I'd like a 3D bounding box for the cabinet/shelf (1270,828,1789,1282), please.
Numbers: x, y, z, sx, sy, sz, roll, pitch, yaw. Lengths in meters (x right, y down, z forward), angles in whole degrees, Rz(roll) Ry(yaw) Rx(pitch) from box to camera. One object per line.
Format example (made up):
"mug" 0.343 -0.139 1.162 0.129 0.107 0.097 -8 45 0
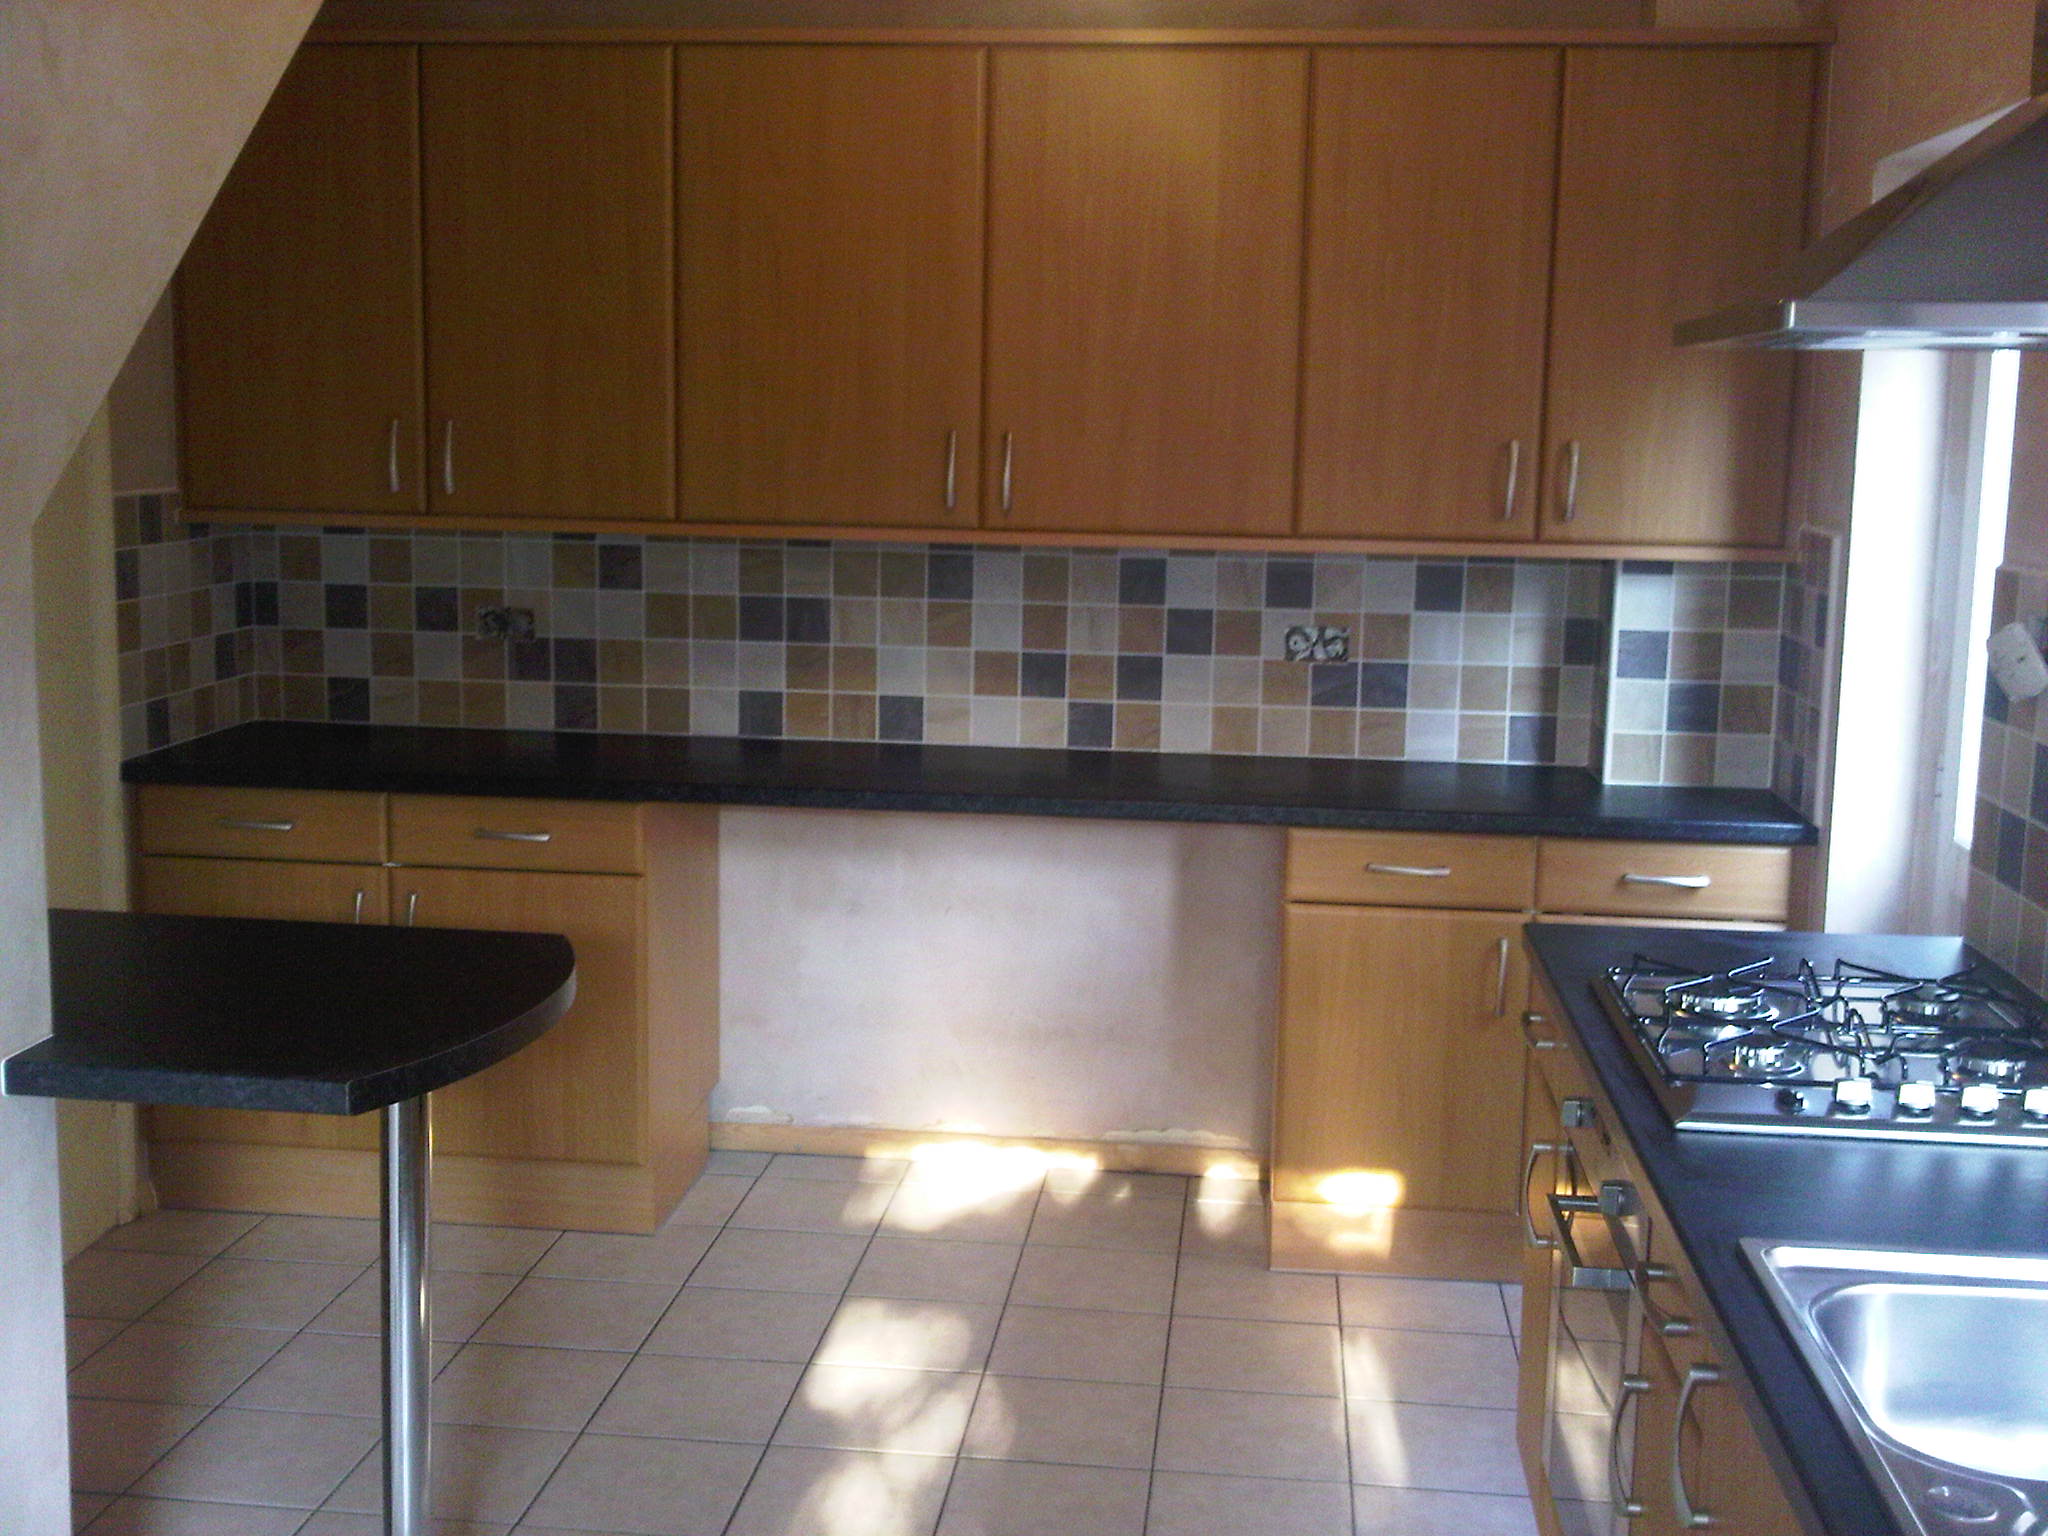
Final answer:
"cabinet/shelf" 0.892 0.461 3.214 0.896 0.804 0.353 1 4 7

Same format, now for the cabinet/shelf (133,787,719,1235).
"cabinet/shelf" -1.342 0.539 4.199 1.129 0.968 0.583 2 -1 5

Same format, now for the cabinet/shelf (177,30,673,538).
"cabinet/shelf" -1.275 -1.079 4.166 1.145 1.033 0.409 3 8 8

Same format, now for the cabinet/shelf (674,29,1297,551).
"cabinet/shelf" -0.038 -1.062 3.846 1.000 0.862 0.392 1 9 3
